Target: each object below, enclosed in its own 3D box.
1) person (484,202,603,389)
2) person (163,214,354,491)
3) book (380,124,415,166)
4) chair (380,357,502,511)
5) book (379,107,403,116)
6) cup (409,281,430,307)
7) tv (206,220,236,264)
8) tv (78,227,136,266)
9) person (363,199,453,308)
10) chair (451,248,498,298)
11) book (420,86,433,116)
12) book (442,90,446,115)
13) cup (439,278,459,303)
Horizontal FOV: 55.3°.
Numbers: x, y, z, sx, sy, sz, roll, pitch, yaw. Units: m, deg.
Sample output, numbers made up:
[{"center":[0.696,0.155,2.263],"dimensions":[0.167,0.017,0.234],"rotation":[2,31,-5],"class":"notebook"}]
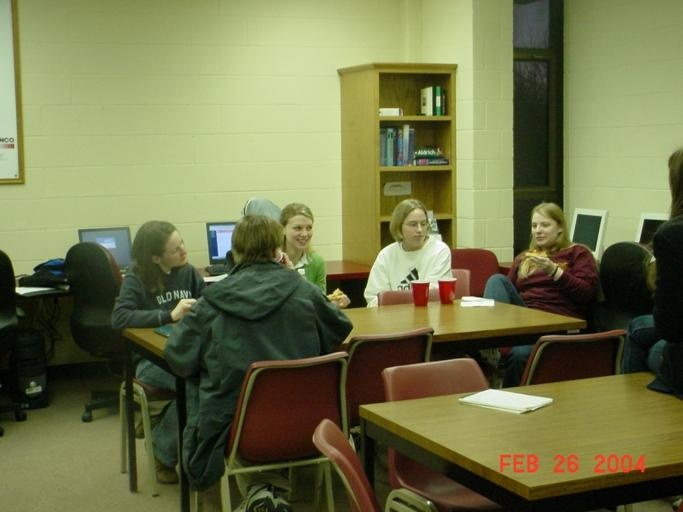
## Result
[{"center":[1.292,0.279,4.365],"dimensions":[0.694,1.275,0.665],"rotation":[4,-13,-12],"class":"person"},{"center":[-0.380,0.340,3.202],"dimensions":[1.093,1.509,0.995],"rotation":[1,5,-14],"class":"person"},{"center":[0.473,-0.918,5.728],"dimensions":[0.293,0.403,0.404],"rotation":[0,0,-3],"class":"book"},{"center":[0.333,0.610,2.463],"dimensions":[0.525,0.460,0.432],"rotation":[1,-3,-27],"class":"chair"},{"center":[0.411,-1.224,5.547],"dimensions":[0.130,0.044,0.134],"rotation":[2,5,15],"class":"book"},{"center":[0.463,0.220,3.831],"dimensions":[0.124,0.135,0.130],"rotation":[1,-3,0],"class":"cup"},{"center":[-0.927,-0.109,4.963],"dimensions":[0.341,0.407,0.045],"rotation":[0,1,-20],"class":"tv"},{"center":[-1.868,-0.119,5.191],"dimensions":[0.440,0.428,0.344],"rotation":[0,-2,-18],"class":"tv"},{"center":[0.458,0.046,4.392],"dimensions":[0.556,0.830,0.518],"rotation":[-2,12,-5],"class":"person"},{"center":[1.018,0.118,4.946],"dimensions":[0.336,0.444,0.366],"rotation":[-1,3,-30],"class":"chair"},{"center":[0.721,-1.327,5.602],"dimensions":[0.078,0.231,0.138],"rotation":[-7,10,-30],"class":"book"},{"center":[0.878,-1.319,5.609],"dimensions":[0.044,0.203,0.017],"rotation":[-9,11,-42],"class":"book"},{"center":[0.628,0.216,3.930],"dimensions":[0.117,0.133,0.129],"rotation":[0,-1,-2],"class":"cup"}]
